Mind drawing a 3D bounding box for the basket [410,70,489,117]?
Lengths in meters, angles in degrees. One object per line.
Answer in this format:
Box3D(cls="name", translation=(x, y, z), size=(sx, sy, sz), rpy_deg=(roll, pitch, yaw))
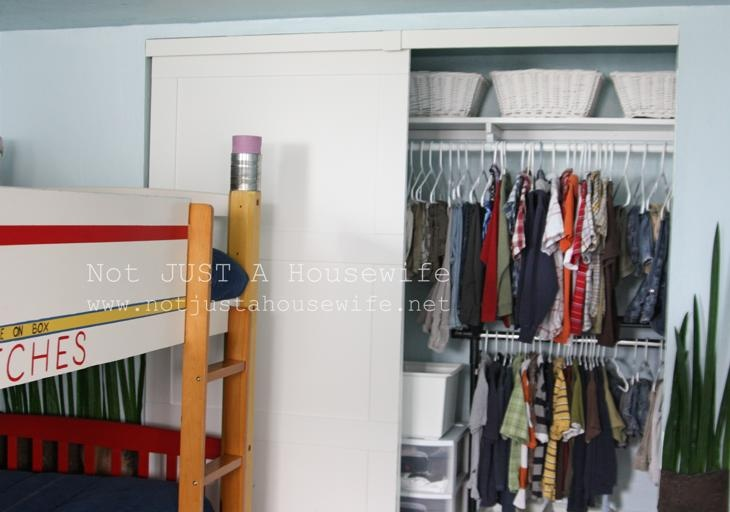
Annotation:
Box3D(cls="basket", translation=(0.497, -0.904, 3.900), size=(0.484, 0.227, 0.389), rpy_deg=(10, 2, 34))
